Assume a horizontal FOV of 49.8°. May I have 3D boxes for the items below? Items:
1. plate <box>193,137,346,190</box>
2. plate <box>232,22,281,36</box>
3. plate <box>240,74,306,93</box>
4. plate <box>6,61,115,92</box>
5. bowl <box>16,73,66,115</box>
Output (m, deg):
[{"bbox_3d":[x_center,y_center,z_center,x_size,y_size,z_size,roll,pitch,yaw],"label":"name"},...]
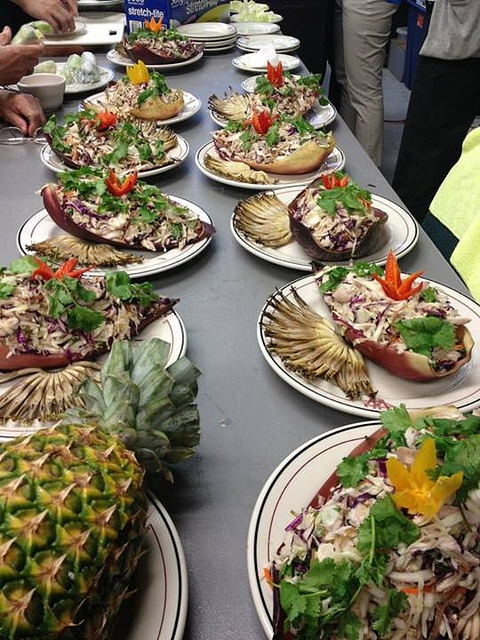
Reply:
[{"bbox_3d":[0.074,-0.425,1.402,0.403,0.050,0.368,-2,5,-11],"label":"plate"},{"bbox_3d":[0.065,-1.521,2.707,0.212,0.027,0.208,17,33,23],"label":"plate"},{"bbox_3d":[0.117,-0.889,1.953,0.234,0.036,0.217,-14,35,-21],"label":"plate"},{"bbox_3d":[-0.648,-0.865,1.852,0.238,0.030,0.227,-18,37,-27],"label":"plate"},{"bbox_3d":[-0.658,-0.767,1.792,0.155,0.099,0.146,2,36,-1],"label":"bowl"}]
